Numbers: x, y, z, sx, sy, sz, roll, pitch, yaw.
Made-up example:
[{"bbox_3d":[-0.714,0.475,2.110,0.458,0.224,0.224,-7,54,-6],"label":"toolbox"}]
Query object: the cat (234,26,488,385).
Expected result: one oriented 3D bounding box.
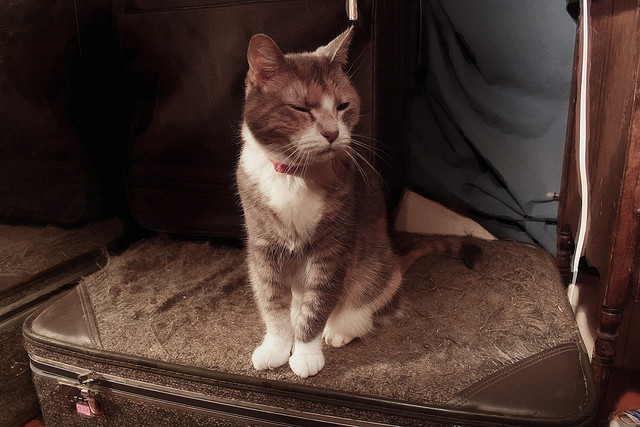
[{"bbox_3d":[0.070,-0.072,1.478,0.538,0.825,0.696,-2,9,44],"label":"cat"}]
